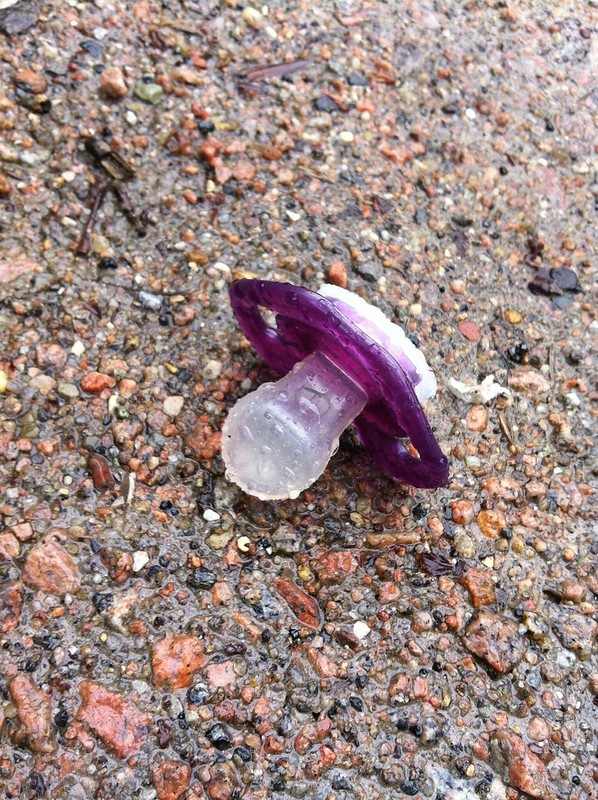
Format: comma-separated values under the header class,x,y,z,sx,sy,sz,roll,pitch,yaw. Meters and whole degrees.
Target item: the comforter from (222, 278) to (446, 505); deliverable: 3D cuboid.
class,x,y,z,sx,sy,sz,roll,pitch,yaw
comforter,0.104,0.031,2.479,0.709,0.680,0.261,11,52,47
